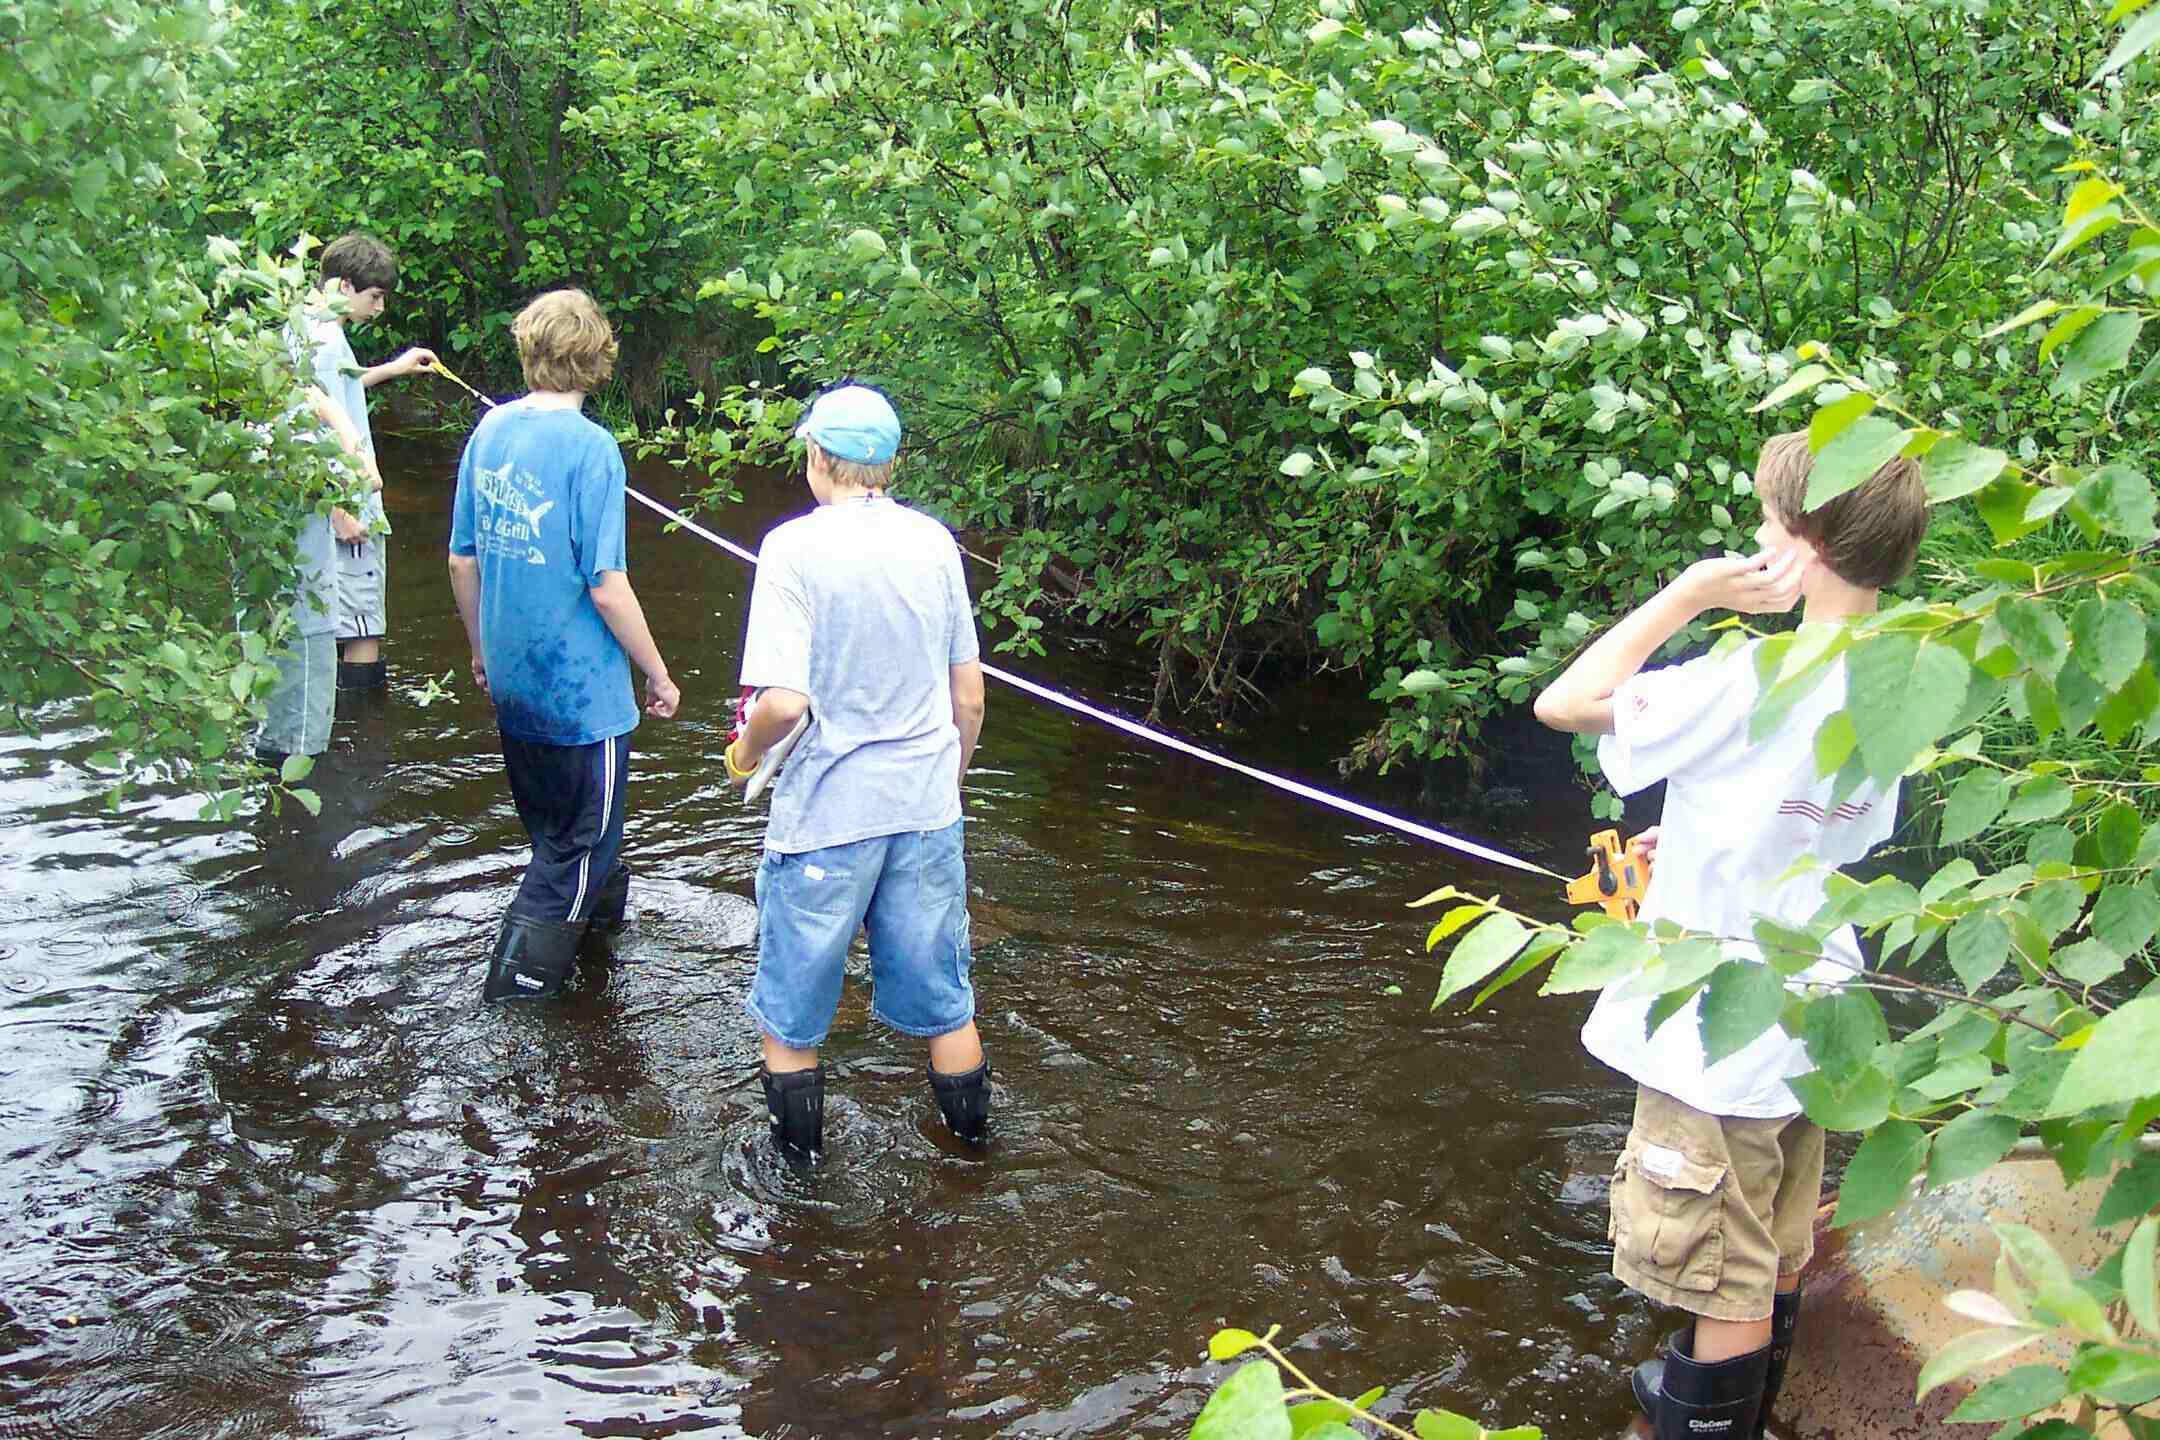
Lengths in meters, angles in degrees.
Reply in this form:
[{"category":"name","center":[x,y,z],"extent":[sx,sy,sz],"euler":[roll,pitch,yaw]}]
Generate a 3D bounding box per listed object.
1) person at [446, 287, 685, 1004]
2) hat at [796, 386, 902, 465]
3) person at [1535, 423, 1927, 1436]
[{"category":"person","center":[-1.962,-0.281,6.856],"extent":[0.800,2.610,0.581],"euler":[-1,14,-9]},{"category":"hat","center":[-0.743,-0.951,5.881],"extent":[0.288,0.249,0.224],"euler":[1,14,-2]},{"category":"person","center":[1.592,0.681,4.611],"extent":[0.793,2.773,0.702],"euler":[7,15,21]}]
